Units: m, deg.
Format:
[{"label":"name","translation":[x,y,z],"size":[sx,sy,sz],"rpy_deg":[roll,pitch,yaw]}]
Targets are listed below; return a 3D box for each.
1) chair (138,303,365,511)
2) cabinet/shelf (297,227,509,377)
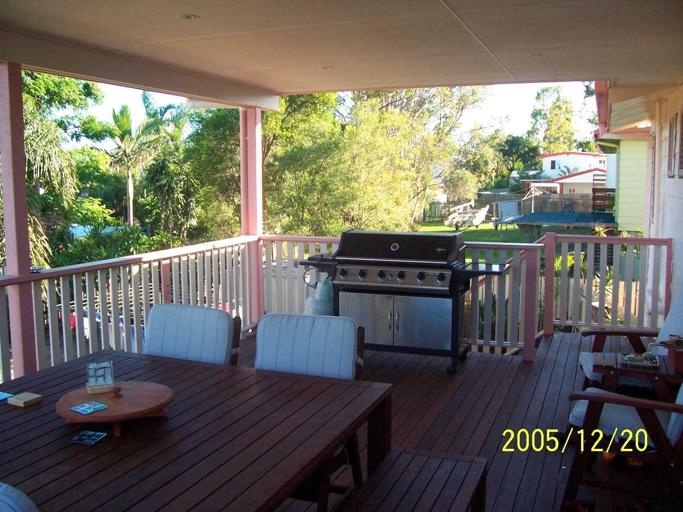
[{"label":"chair","translation":[-0.386,0.641,2.301],"size":[0.965,0.510,0.332],"rpy_deg":[2,3,15]},{"label":"cabinet/shelf","translation":[0.514,0.398,4.532],"size":[1.356,0.973,0.526],"rpy_deg":[2,7,20]}]
